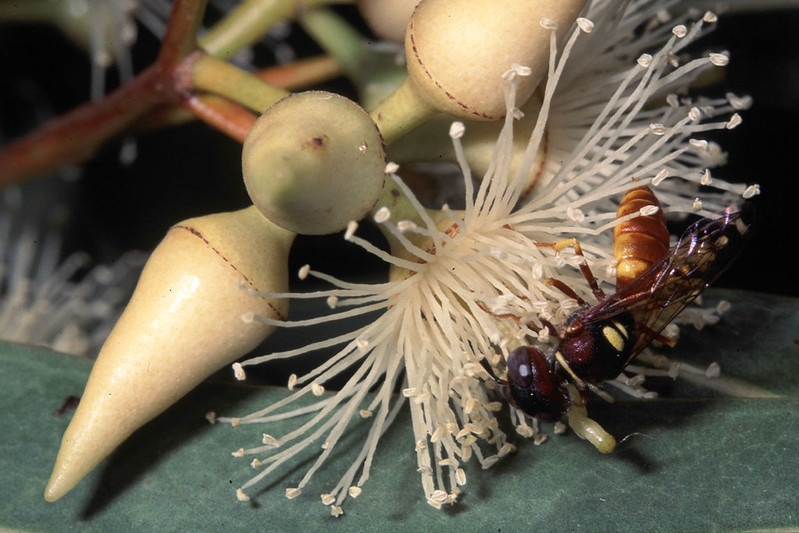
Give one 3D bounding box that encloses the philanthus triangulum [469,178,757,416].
[{"bbox_3d":[0.276,0.023,1.302,0.263,0.355,0.105,48,-2,-35],"label":"philanthus triangulum"}]
